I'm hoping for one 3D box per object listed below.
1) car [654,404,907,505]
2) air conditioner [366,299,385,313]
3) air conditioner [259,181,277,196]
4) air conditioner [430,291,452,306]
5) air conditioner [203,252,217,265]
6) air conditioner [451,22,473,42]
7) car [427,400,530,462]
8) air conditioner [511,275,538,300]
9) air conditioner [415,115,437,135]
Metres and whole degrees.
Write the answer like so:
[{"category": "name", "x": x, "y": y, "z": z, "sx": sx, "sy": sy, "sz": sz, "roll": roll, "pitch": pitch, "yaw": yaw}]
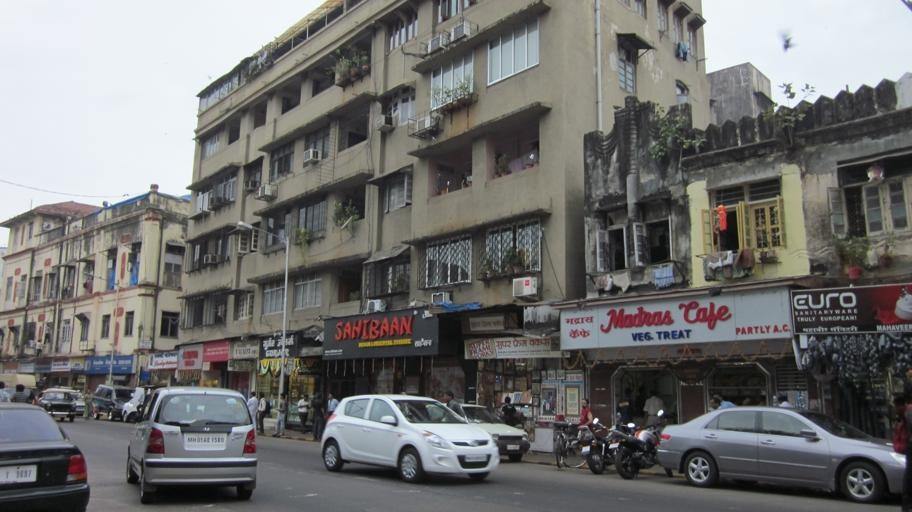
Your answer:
[{"category": "car", "x": 11.560, "y": 6.879, "z": 27.205, "sx": 6.858, "sy": 2.250, "sz": 2.955, "roll": -8, "pitch": -15, "yaw": 31}, {"category": "air conditioner", "x": -4.350, "y": 2.679, "z": 41.473, "sx": 1.164, "sy": 0.605, "sz": 0.798, "roll": 3, "pitch": 8, "yaw": -7}, {"category": "air conditioner", "x": -12.041, "y": -4.213, "z": 49.288, "sx": 0.914, "sy": 0.638, "sz": 0.880, "roll": 0, "pitch": -5, "yaw": -6}, {"category": "air conditioner", "x": -0.781, "y": 2.122, "z": 38.590, "sx": 0.757, "sy": 0.629, "sz": 0.751, "roll": 12, "pitch": -16, "yaw": -42}, {"category": "air conditioner", "x": -17.495, "y": 0.246, "z": 54.792, "sx": 0.473, "sy": 0.806, "sz": 1.108, "roll": -6, "pitch": 8, "yaw": -43}, {"category": "air conditioner", "x": 0.249, "y": -11.345, "z": 39.581, "sx": 0.999, "sy": 0.811, "sz": 0.516, "roll": -25, "pitch": -42, "yaw": 37}, {"category": "car", "x": 0.501, "y": 7.444, "z": 34.125, "sx": 2.621, "sy": 1.868, "sz": 5.540, "roll": 11, "pitch": -7, "yaw": -44}, {"category": "air conditioner", "x": 3.137, "y": 1.467, "z": 35.728, "sx": 0.937, "sy": 0.820, "sz": 0.484, "roll": -14, "pitch": -27, "yaw": 39}, {"category": "air conditioner", "x": -1.605, "y": -6.744, "z": 40.400, "sx": 0.218, "sy": 0.620, "sz": 1.087, "roll": 19, "pitch": -22, "yaw": -31}]
